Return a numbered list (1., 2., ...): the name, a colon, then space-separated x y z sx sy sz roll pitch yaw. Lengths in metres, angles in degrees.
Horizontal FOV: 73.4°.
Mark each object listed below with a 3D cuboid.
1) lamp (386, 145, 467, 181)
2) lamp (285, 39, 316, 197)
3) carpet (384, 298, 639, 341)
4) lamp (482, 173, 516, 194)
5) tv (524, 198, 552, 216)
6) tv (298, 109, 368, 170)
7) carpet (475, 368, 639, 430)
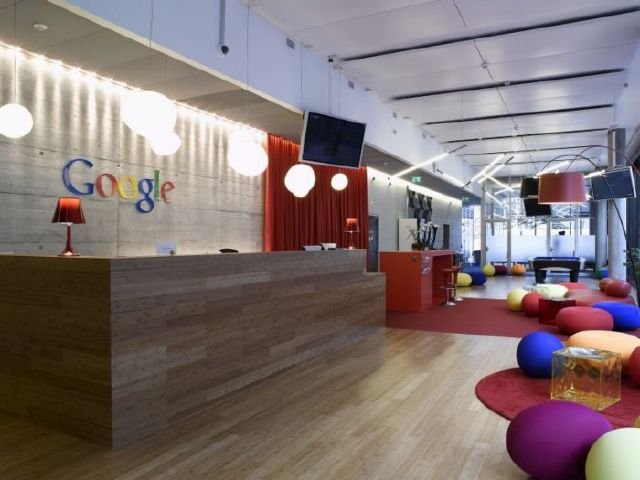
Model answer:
1. lamp: 3.257 -2.437 13.424 0.177 0.166 4.300 2 17 44
2. lamp: -0.390 -2.048 7.280 0.484 2.697 1.923 -2 1 -4
3. carpet: 2.914 1.496 8.493 2.805 0.111 3.373 -1 2 20
4. lamp: 9.071 -2.882 21.734 1.198 0.295 1.294 -1 -5 5
5. tv: 7.038 -1.073 13.903 0.862 0.605 0.458 0 -4 -1
6. tv: 0.213 -1.920 8.058 0.235 1.080 1.855 18 9 41
7. carpet: 2.314 1.571 4.273 1.440 0.057 1.299 -1 2 30
